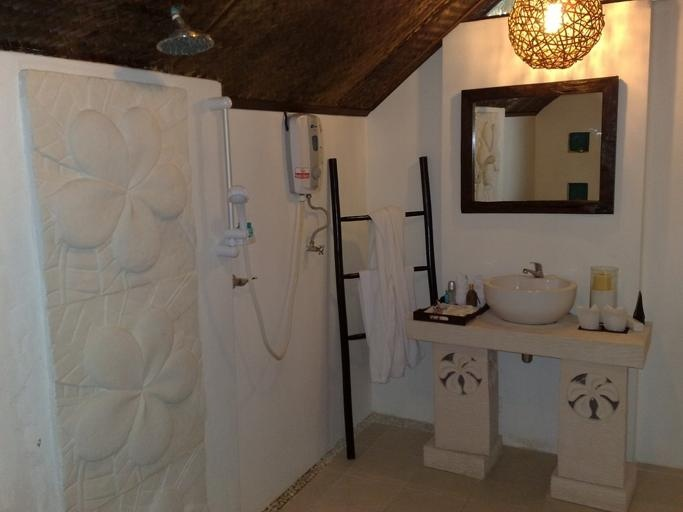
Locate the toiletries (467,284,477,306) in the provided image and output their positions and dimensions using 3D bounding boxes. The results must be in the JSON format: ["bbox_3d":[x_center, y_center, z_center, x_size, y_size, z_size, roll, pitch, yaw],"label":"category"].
[{"bbox_3d":[0.746,0.224,3.259,0.074,0.123,0.128,0,11,15],"label":"toiletries"}]

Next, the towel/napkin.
[{"bbox_3d":[0.276,0.233,3.372,0.359,1.010,0.165,-7,11,-26],"label":"towel/napkin"}]

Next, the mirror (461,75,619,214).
[{"bbox_3d":[1.111,-0.623,3.100,0.690,0.646,0.054,4,8,25],"label":"mirror"}]

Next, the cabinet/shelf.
[{"bbox_3d":[1.027,0.841,3.019,0.838,0.717,0.311,4,13,25],"label":"cabinet/shelf"}]

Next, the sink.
[{"bbox_3d":[0.978,0.234,2.997,0.450,0.209,0.358,0,11,14],"label":"sink"}]

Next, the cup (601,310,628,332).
[{"bbox_3d":[1.333,0.315,2.780,0.104,0.104,0.106,-1,-3,0],"label":"cup"}]

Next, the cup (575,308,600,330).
[{"bbox_3d":[1.235,0.314,2.844,0.104,0.111,0.098,0,1,0],"label":"cup"}]
